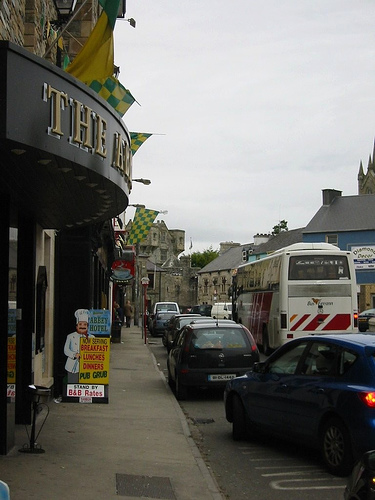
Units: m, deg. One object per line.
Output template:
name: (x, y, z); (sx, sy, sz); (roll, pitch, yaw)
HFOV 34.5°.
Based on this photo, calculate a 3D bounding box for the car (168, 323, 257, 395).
car: (0.339, 2.041, 11.993); (0.992, 0.956, 1.848); (-1, 1, -8)

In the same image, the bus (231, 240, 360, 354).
bus: (3.644, 1.792, 22.538); (2.449, 3.959, 7.767); (1, -5, -9)

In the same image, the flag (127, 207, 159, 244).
flag: (-2.122, -1.252, 28.069); (0.903, 1.538, 1.907); (1, -4, -31)

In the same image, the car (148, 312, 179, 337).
car: (-1.596, 4.146, 34.509); (1.060, 1.051, 1.836); (0, 2, -4)

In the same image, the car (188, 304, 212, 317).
car: (1.421, 5.717, 58.024); (0.982, 1.143, 2.890); (1, -8, -15)

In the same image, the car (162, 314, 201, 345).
car: (-0.399, 2.974, 23.633); (1.006, 0.969, 1.763); (0, 3, -7)

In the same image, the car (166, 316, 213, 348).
car: (-0.181, 2.802, 21.894); (1.009, 0.994, 1.862); (0, 1, -7)

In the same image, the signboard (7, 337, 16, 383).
signboard: (-2.124, 1.322, 7.287); (0.085, 0.572, 0.344); (0, -4, -16)
